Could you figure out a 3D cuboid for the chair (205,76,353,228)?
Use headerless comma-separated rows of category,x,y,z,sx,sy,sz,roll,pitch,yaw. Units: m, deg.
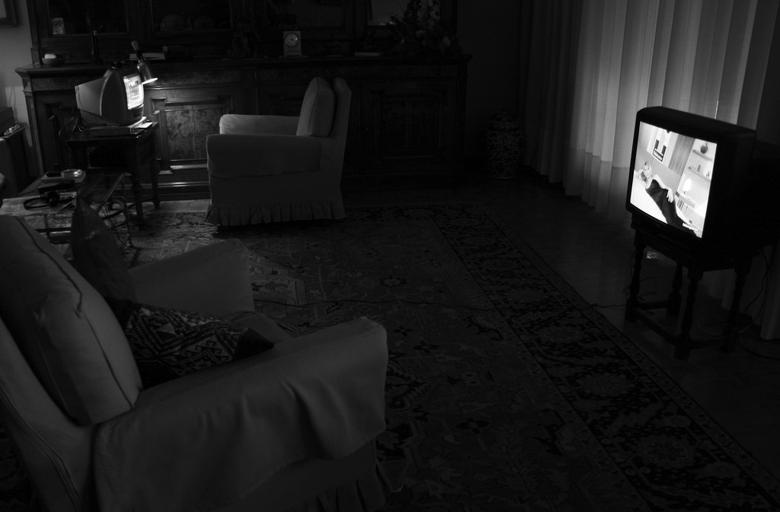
chair,-1.104,-0.906,4.820,1.271,1.027,1.173,-6,17,-27

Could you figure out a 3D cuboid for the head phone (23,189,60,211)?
head phone,-2.263,-0.338,3.639,0.222,0.076,0.159,-7,22,-18

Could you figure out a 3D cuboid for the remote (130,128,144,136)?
remote,-1.981,-0.963,4.366,0.106,0.029,0.095,5,23,2
